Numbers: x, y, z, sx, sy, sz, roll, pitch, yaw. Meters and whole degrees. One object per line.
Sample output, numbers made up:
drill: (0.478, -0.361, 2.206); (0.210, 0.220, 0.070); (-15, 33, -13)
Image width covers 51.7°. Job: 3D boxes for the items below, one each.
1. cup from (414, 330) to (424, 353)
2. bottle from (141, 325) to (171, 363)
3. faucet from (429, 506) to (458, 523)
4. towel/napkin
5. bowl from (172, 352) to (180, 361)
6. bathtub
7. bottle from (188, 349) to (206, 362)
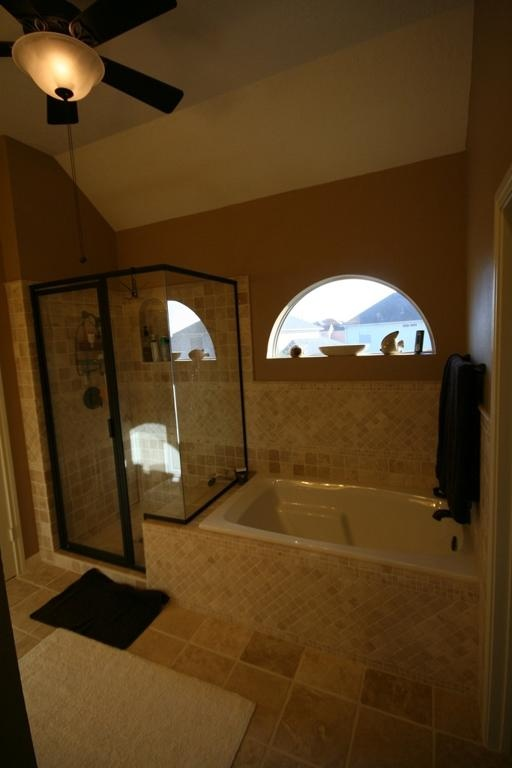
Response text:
cup: (0.904, -0.234, 2.937); (0.046, 0.129, 0.106); (2, 14, 17)
bottle: (-0.492, -0.208, 2.640); (0.137, 0.146, 0.075); (11, 25, 27)
faucet: (0.942, 0.656, 2.678); (0.127, 0.047, 0.132); (2, 20, 12)
towel/napkin: (0.910, 0.306, 2.389); (0.172, 0.898, 0.535); (3, 14, 19)
bowl: (-0.396, -0.140, 2.659); (0.030, 0.039, 0.055); (0, 2, 23)
bathtub: (0.439, 0.766, 2.735); (1.277, 0.352, 0.875); (5, 16, 24)
bottle: (-0.320, -0.156, 2.897); (0.071, 0.045, 0.047); (-1, 3, 37)
